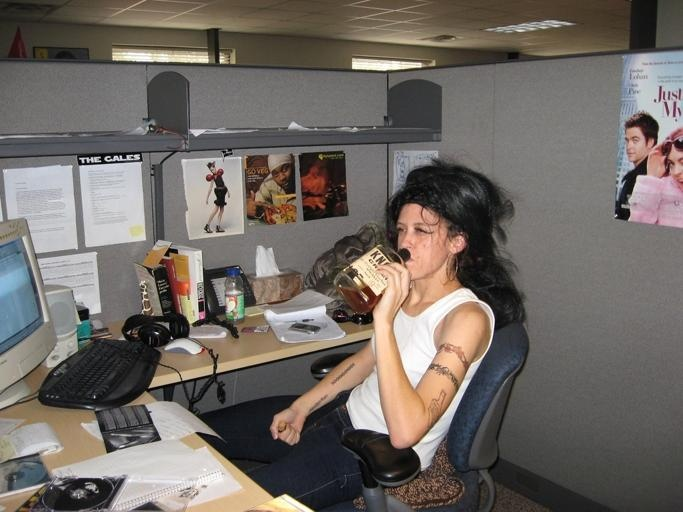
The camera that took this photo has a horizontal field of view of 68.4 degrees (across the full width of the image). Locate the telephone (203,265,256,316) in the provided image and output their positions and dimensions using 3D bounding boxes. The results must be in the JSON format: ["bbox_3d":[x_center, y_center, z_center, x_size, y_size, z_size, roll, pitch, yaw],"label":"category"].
[{"bbox_3d":[-0.500,0.149,2.136,0.230,0.201,0.060,-14,1,-28],"label":"telephone"}]

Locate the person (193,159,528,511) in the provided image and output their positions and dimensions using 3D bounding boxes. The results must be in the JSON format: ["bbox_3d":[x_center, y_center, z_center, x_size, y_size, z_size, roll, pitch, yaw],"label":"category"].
[{"bbox_3d":[0.171,0.189,1.726,1.357,0.952,0.718,-2,15,-22],"label":"person"}]

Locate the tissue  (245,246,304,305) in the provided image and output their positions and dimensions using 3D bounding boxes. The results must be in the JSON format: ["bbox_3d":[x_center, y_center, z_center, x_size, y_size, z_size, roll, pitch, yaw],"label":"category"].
[{"bbox_3d":[-0.329,0.078,2.348,0.276,0.248,0.148,-8,14,-36],"label":"tissue "}]

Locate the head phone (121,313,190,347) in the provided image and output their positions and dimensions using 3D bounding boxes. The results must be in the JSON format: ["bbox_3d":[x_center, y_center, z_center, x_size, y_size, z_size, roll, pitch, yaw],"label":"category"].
[{"bbox_3d":[-0.699,0.264,1.881,0.173,0.065,0.153,18,19,19],"label":"head phone"}]

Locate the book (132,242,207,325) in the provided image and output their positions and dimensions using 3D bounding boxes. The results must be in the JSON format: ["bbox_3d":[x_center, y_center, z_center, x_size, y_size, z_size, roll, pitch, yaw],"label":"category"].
[{"bbox_3d":[-0.697,0.113,2.021,0.271,0.327,0.188,11,22,36],"label":"book"}]

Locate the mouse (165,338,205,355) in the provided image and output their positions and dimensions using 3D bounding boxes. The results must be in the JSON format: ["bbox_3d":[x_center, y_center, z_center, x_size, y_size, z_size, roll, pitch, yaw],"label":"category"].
[{"bbox_3d":[-0.569,0.325,1.811,0.106,0.032,0.061,2,2,16],"label":"mouse"}]

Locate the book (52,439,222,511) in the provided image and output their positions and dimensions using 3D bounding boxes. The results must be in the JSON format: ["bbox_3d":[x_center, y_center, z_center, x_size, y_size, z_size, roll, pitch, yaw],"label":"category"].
[{"bbox_3d":[-0.445,0.496,1.170,0.149,0.026,0.160,10,11,40],"label":"book"}]

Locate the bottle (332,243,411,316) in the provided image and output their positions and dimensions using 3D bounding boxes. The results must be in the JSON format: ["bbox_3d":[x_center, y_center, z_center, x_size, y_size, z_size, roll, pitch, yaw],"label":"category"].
[{"bbox_3d":[0.092,0.102,1.663,0.201,0.172,0.334,-13,16,-15],"label":"bottle"}]

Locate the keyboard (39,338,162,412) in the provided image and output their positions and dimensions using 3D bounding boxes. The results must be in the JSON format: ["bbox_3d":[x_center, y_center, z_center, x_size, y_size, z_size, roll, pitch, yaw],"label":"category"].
[{"bbox_3d":[-0.764,0.346,1.584,0.301,0.382,0.035,16,35,-39],"label":"keyboard"}]
